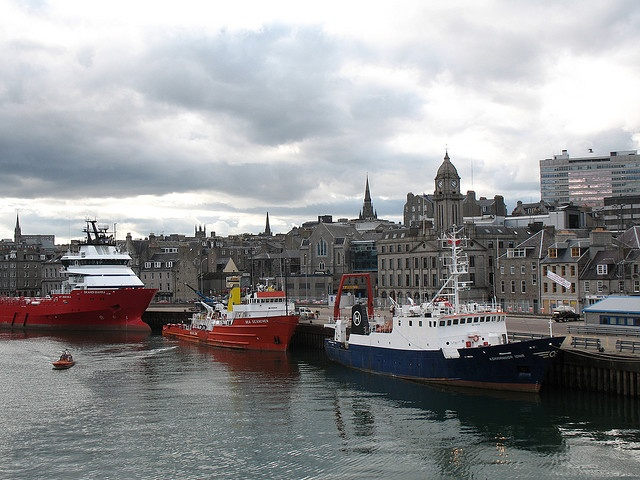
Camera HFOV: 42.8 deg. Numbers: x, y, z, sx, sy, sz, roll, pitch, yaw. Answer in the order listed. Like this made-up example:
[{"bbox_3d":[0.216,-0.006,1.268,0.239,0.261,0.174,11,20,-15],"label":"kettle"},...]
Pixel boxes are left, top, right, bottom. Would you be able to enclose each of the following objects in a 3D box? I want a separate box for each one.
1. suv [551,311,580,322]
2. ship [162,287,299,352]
[{"bbox_3d":[22.091,6.725,72.826,2.331,0.820,0.988,-4,3,-19],"label":"suv"},{"bbox_3d":[-9.675,7.696,83.461,4.995,5.946,22.117,-4,2,-43],"label":"ship"}]
